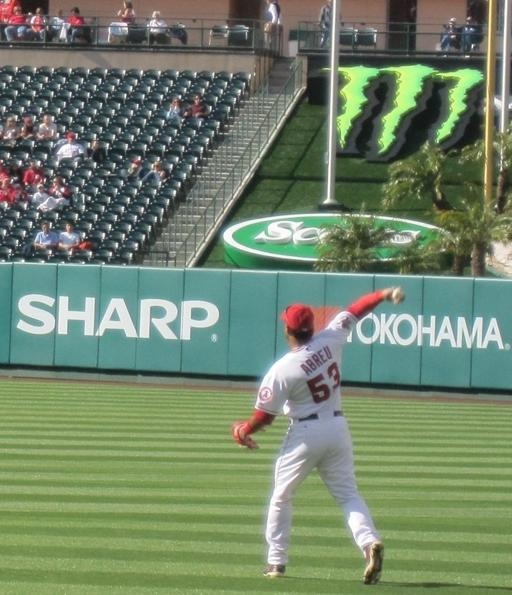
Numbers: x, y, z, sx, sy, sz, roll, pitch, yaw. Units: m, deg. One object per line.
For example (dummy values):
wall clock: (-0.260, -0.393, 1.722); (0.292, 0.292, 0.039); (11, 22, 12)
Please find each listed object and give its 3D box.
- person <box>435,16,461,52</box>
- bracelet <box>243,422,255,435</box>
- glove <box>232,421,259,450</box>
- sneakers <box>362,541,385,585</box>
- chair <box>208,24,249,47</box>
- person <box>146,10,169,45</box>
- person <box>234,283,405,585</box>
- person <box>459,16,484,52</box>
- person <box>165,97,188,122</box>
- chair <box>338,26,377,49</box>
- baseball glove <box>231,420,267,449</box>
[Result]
person: (3.939, -5.359, 31.203); (0.468, 0.765, 1.077); (-1, 3, 8)
bracelet: (-0.063, 1.123, 12.963); (0.084, 0.068, 0.084); (-40, 41, -20)
glove: (-0.108, 1.204, 13.063); (0.242, 0.105, 0.189); (33, 45, -3)
sneakers: (0.986, 2.230, 12.744); (0.127, 0.388, 0.171); (6, 2, 6)
chair: (-0.526, -5.250, 30.364); (0.647, 0.519, 0.332); (0, 15, 9)
person: (-1.997, -5.491, 30.824); (0.428, 0.757, 1.042); (-2, 3, -4)
person: (0.451, 1.201, 12.996); (1.161, 2.394, 0.617); (-1, 3, 4)
person: (4.397, -5.333, 31.126); (0.456, 0.731, 1.095); (-1, 3, 8)
person: (-1.464, -3.464, 28.074); (0.337, 0.424, 0.798); (0, 42, 1)
chair: (2.061, -5.319, 30.950); (0.562, 0.480, 0.555); (0, 6, 3)
baseball glove: (-0.121, 1.209, 13.088); (0.185, 0.140, 0.261); (-6, -27, -17)
